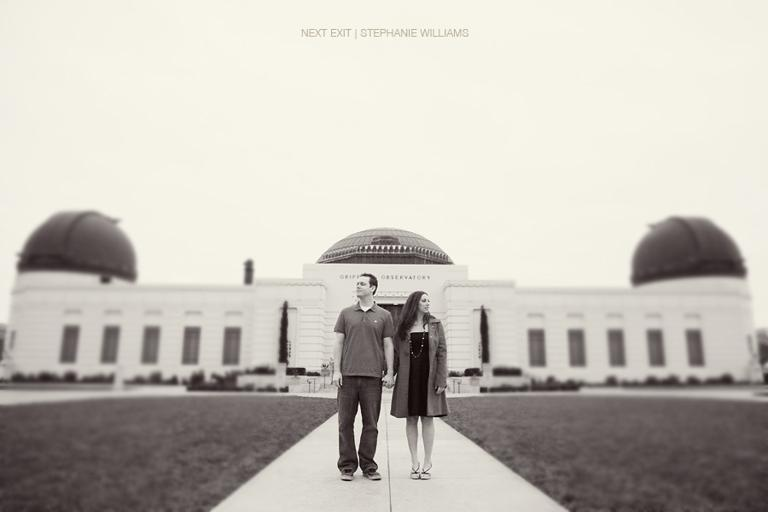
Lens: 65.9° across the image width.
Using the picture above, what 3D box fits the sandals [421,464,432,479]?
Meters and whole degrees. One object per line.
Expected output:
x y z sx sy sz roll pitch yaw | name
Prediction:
0.554 2.879 7.957 0.152 0.160 0.314 1 -6 3 | sandals

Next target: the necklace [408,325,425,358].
0.430 1.176 8.057 0.231 0.411 0.095 0 -10 4 | necklace

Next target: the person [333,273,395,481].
-0.277 1.594 8.036 0.827 2.717 0.391 1 -6 -3 | person

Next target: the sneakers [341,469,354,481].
-0.484 2.869 7.757 0.160 0.124 0.170 2 -6 -6 | sneakers

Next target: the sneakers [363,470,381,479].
-0.161 2.891 7.826 0.092 0.092 0.231 6 -17 -29 | sneakers

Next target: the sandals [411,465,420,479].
0.405 2.873 7.903 0.120 0.156 0.211 1 -6 2 | sandals
